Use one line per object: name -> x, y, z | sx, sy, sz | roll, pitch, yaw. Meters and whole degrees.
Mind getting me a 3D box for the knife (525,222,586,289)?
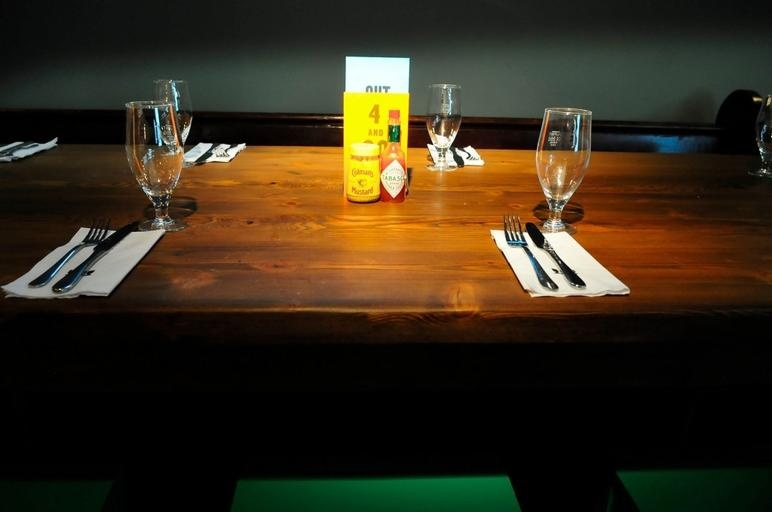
knife -> 0.406, -0.002, 1.317 | 0.043, 0.324, 0.022 | -33, 36, 20
